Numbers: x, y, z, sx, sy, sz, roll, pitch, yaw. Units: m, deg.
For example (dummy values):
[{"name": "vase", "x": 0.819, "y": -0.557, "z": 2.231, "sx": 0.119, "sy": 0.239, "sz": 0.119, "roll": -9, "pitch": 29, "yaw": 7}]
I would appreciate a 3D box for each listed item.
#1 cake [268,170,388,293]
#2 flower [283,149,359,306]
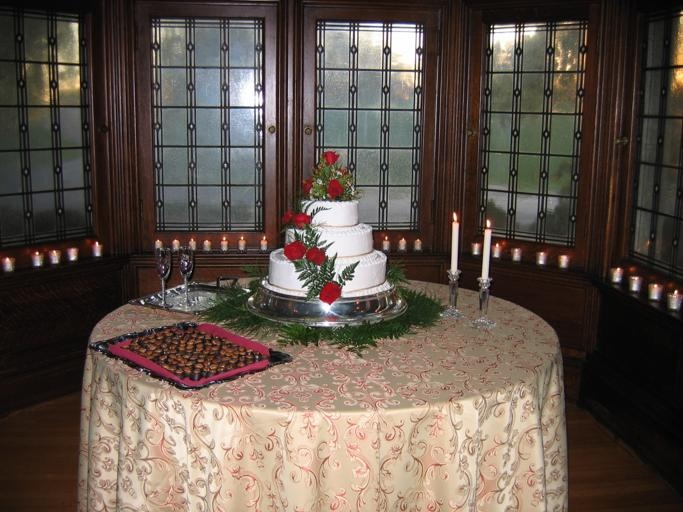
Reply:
[{"name": "cake", "x": -0.070, "y": -0.081, "z": 2.455, "sx": 0.600, "sy": 0.437, "sz": 0.608, "roll": 2, "pitch": 4, "yaw": -8}, {"name": "flower", "x": -0.045, "y": -0.058, "z": 2.332, "sx": 0.388, "sy": 0.750, "sz": 0.386, "roll": 0, "pitch": 9, "yaw": -13}]
